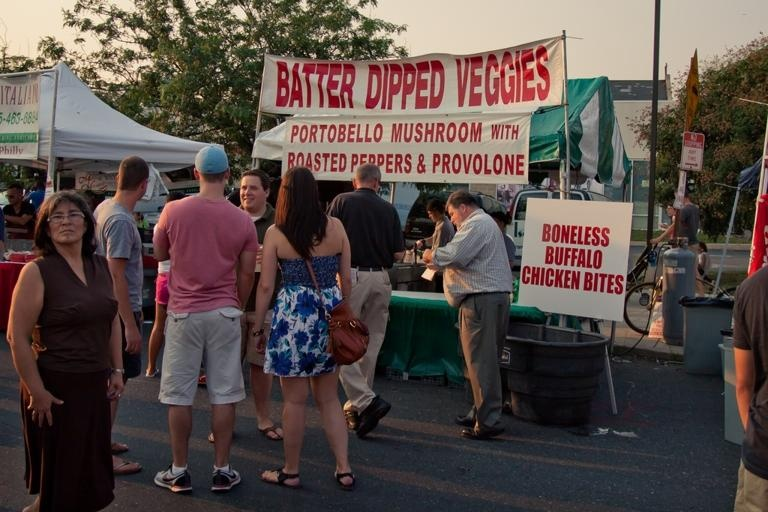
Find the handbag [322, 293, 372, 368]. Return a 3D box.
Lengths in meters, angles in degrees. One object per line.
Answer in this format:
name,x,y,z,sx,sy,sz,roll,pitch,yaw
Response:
handbag,-0.356,0.754,7.053,0.390,0.628,0.264,2,11,1

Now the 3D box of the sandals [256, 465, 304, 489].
sandals,-0.978,2.075,7.301,0.322,0.143,0.181,13,2,20

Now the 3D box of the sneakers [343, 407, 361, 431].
sneakers,-0.353,1.795,8.319,0.126,0.152,0.374,1,-8,-5

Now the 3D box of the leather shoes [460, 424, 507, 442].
leather shoes,1.097,1.905,8.337,0.458,0.223,0.178,4,-3,-5

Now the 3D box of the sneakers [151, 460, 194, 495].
sneakers,-2.002,2.084,7.161,0.403,0.221,0.178,3,-2,39

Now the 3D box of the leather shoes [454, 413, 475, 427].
leather shoes,0.926,1.870,8.664,0.173,0.069,0.119,6,4,26

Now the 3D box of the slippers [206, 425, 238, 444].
slippers,-1.755,1.885,7.944,0.201,0.192,0.586,0,-14,-1

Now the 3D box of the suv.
suv,1.563,-0.772,18.918,2.124,1.231,1.322,-13,6,-13

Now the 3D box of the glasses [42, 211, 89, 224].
glasses,-2.602,-0.312,6.220,0.282,0.080,0.084,-5,13,-27

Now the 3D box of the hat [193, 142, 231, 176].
hat,-1.635,-0.897,7.238,0.234,0.197,0.372,1,30,-8

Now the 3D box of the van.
van,4.116,-0.537,18.413,2.831,1.870,2.107,-2,2,10
